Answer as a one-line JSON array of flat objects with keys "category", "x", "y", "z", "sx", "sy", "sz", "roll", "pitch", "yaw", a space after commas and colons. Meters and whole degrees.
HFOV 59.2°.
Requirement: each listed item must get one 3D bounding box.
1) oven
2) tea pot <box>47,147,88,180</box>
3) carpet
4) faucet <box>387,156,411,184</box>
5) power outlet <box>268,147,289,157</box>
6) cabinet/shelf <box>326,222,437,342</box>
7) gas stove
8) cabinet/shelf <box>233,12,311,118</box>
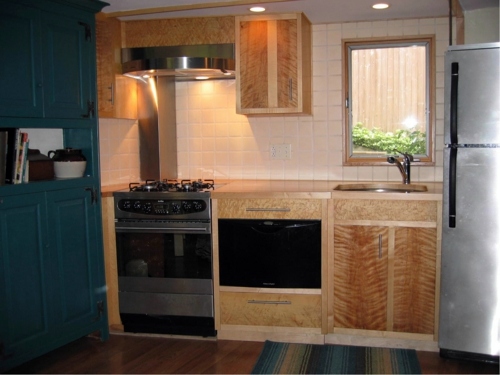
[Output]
[{"category": "oven", "x": -0.828, "y": 0.771, "z": 3.800, "sx": 0.868, "sy": 0.972, "sz": 0.776, "roll": 11, "pitch": -25, "yaw": -36}, {"category": "tea pot", "x": -1.314, "y": -0.189, "z": 3.274, "sx": 0.281, "sy": 0.184, "sz": 0.211, "roll": 0, "pitch": 3, "yaw": 12}, {"category": "carpet", "x": 0.615, "y": 1.241, "z": 3.157, "sx": 1.159, "sy": 0.021, "sz": 0.425, "roll": 0, "pitch": 12, "yaw": 7}, {"category": "faucet", "x": 1.257, "y": -0.169, "z": 3.733, "sx": 0.178, "sy": 0.232, "sz": 0.373, "roll": 3, "pitch": 12, "yaw": 19}, {"category": "power outlet", "x": 0.279, "y": -0.334, "z": 4.047, "sx": 0.189, "sy": 0.120, "sz": 0.040, "roll": 3, "pitch": 12, "yaw": 19}, {"category": "cabinet/shelf", "x": 1.004, "y": 0.671, "z": 3.269, "sx": 0.966, "sy": 0.876, "sz": 0.336, "roll": 1, "pitch": 0, "yaw": 11}, {"category": "gas stove", "x": -0.667, "y": 0.101, "z": 3.585, "sx": 0.781, "sy": 0.254, "sz": 0.326, "roll": 1, "pitch": 12, "yaw": 12}, {"category": "cabinet/shelf", "x": 0.151, "y": -1.016, "z": 3.629, "sx": 0.542, "sy": 0.791, "sz": 0.189, "roll": -1, "pitch": 11, "yaw": 0}]
